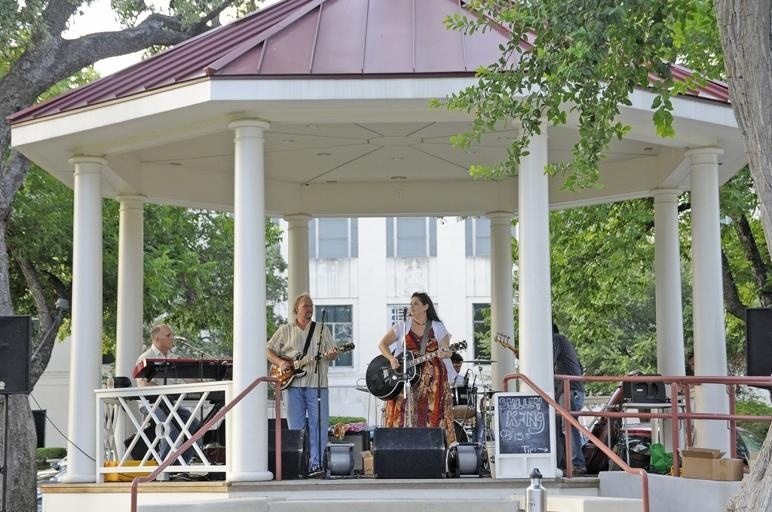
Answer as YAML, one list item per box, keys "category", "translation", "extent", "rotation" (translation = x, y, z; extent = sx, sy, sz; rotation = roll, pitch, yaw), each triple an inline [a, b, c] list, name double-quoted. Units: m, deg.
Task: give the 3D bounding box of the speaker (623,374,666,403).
- category: "speaker"
  translation: [4.076, 1.927, 23.532]
  extent: [0.687, 0.504, 0.410]
  rotation: [0, -4, 3]

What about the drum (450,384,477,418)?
- category: "drum"
  translation: [1.361, 2.673, 27.164]
  extent: [0.502, 0.526, 0.522]
  rotation: [5, -28, -9]

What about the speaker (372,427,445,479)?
- category: "speaker"
  translation: [0.337, 2.976, 22.671]
  extent: [1.071, 0.754, 0.191]
  rotation: [0, -9, -6]

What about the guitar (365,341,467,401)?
- category: "guitar"
  translation: [0.476, 1.801, 23.729]
  extent: [1.745, 0.812, 0.263]
  rotation: [-20, -21, 28]

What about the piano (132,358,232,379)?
- category: "piano"
  translation: [-3.217, 1.773, 23.514]
  extent: [1.541, 0.334, 0.421]
  rotation: [1, -10, -12]

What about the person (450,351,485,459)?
- category: "person"
  translation: [1.504, 2.757, 27.527]
  extent: [0.879, 1.838, 0.858]
  rotation: [-1, 0, 14]

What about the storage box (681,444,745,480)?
- category: "storage box"
  translation: [4.897, 3.110, 22.408]
  extent: [0.892, 0.510, 0.337]
  rotation: [-3, -10, 13]

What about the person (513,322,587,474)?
- category: "person"
  translation: [2.741, 2.184, 24.028]
  extent: [0.711, 2.803, 0.946]
  rotation: [-21, -29, 33]

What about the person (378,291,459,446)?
- category: "person"
  translation: [0.530, 1.850, 24.017]
  extent: [1.026, 2.759, 0.951]
  rotation: [0, -3, 1]

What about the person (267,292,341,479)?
- category: "person"
  translation: [-1.414, 2.086, 24.441]
  extent: [1.069, 2.905, 1.062]
  rotation: [0, -3, -1]

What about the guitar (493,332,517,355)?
- category: "guitar"
  translation: [2.065, 1.486, 25.846]
  extent: [0.148, 0.299, 1.076]
  rotation: [10, -10, 19]

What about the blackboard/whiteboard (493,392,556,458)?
- category: "blackboard/whiteboard"
  translation: [2.100, 2.581, 22.734]
  extent: [0.930, 1.121, 0.044]
  rotation: [0, -6, -1]

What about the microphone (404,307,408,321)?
- category: "microphone"
  translation: [0.299, 0.902, 23.522]
  extent: [0.047, 0.190, 0.055]
  rotation: [3, 1, -5]

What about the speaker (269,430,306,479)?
- category: "speaker"
  translation: [-1.553, 3.056, 23.013]
  extent: [0.576, 0.763, 0.481]
  rotation: [0, -9, -4]

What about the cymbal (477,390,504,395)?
- category: "cymbal"
  translation: [1.835, 2.636, 26.835]
  extent: [0.435, 0.127, 0.451]
  rotation: [1, -7, 15]
